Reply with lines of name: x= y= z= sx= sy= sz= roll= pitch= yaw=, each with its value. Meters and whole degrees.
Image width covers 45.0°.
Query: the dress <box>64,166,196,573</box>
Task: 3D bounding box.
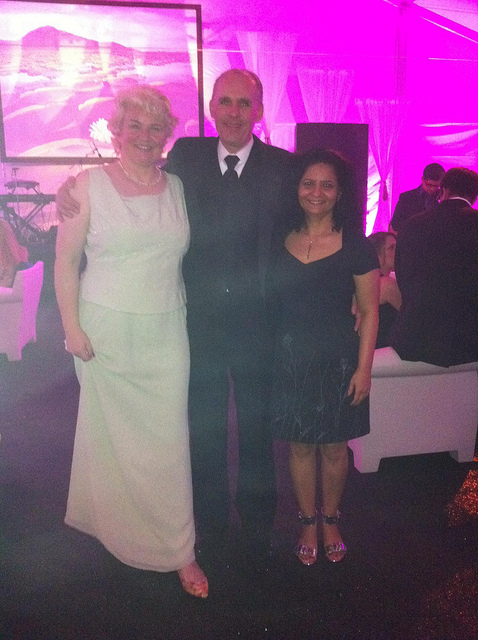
dress: x=-0.388 y=0.112 z=2.111 sx=0.449 sy=1.412 sz=0.330 roll=-3 pitch=-10 yaw=5

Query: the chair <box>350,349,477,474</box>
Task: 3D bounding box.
chair: x=0.927 y=0.509 z=3.324 sx=0.641 sy=0.901 sz=0.694 roll=-3 pitch=8 yaw=-7

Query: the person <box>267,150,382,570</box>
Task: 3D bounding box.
person: x=0.331 y=0.154 z=2.166 sx=0.363 sy=1.513 sz=0.382 roll=8 pitch=14 yaw=34

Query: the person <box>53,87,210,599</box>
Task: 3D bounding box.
person: x=-0.381 y=0.109 z=1.953 sx=0.500 sy=1.702 sz=0.359 roll=-3 pitch=12 yaw=-11

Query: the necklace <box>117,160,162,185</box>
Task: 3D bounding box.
necklace: x=-0.334 y=-0.506 z=1.986 sx=0.159 sy=0.083 sz=0.116 roll=-6 pitch=13 yaw=-24

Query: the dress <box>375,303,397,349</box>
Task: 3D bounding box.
dress: x=0.764 y=0.027 z=3.020 sx=0.048 sy=0.207 sz=0.217 roll=11 pitch=9 yaw=3
